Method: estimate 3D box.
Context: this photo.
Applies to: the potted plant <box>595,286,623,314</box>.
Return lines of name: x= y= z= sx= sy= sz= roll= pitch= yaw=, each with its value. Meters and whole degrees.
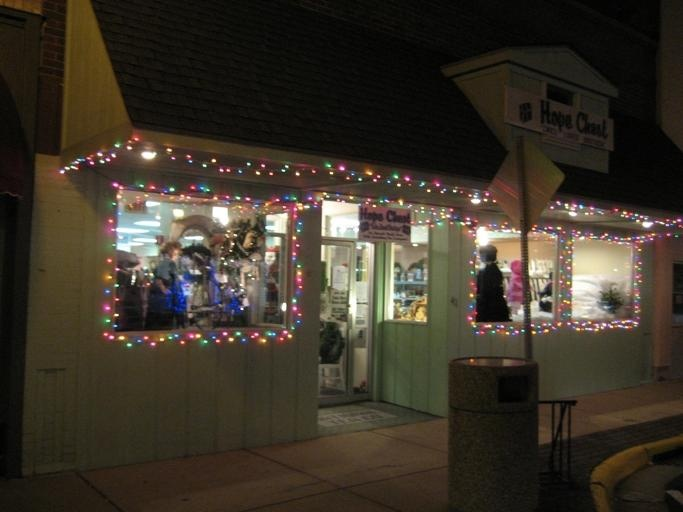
potted plant: x=5.414 y=0.891 z=14.072 sx=0.572 sy=0.660 sz=0.583 roll=1 pitch=-4 yaw=-10

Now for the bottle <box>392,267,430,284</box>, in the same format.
bottle: x=1.175 y=0.330 z=11.938 sx=0.256 sy=0.214 sz=0.767 roll=2 pitch=0 yaw=-44

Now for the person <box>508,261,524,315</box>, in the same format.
person: x=3.091 y=0.539 z=12.144 sx=0.158 sy=0.987 sz=0.363 roll=3 pitch=3 yaw=37

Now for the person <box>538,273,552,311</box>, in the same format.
person: x=3.846 y=0.678 z=12.800 sx=0.399 sy=0.729 sz=0.108 roll=-1 pitch=3 yaw=-44

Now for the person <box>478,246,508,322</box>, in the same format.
person: x=2.585 y=0.478 z=11.747 sx=0.741 sy=1.330 sz=0.175 roll=-1 pitch=3 yaw=-44
